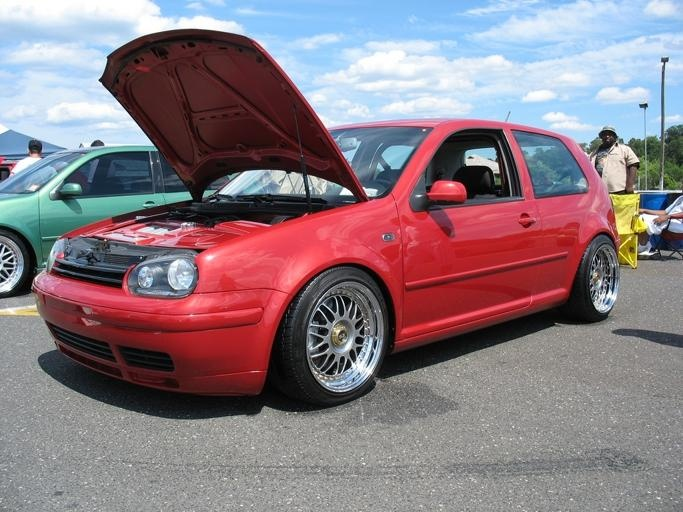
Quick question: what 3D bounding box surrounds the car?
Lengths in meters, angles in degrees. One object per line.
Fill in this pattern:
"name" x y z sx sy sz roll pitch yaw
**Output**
"car" 0.149 -0.232 4.359 4.711 1.714 2.699 1 -3 -38
